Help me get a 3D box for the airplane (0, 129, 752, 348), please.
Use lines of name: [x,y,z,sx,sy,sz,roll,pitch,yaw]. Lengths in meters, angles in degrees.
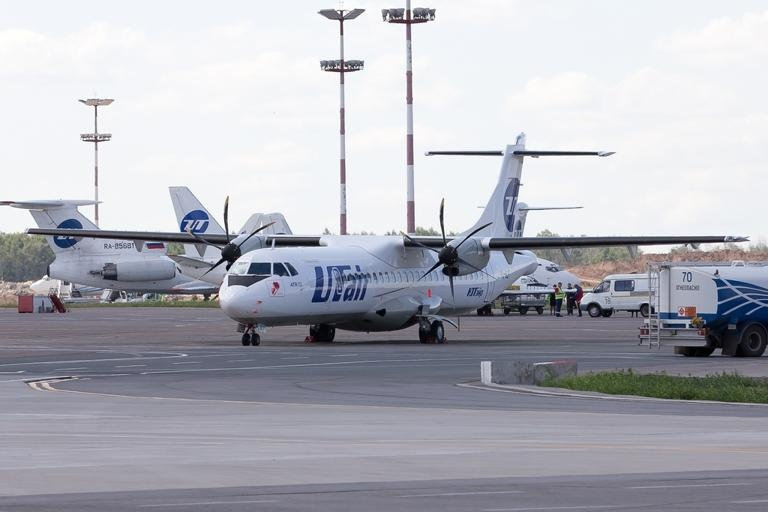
airplane: [0.110,-0.606,45.809,14.395,7.081,7.487,0,1,-15]
